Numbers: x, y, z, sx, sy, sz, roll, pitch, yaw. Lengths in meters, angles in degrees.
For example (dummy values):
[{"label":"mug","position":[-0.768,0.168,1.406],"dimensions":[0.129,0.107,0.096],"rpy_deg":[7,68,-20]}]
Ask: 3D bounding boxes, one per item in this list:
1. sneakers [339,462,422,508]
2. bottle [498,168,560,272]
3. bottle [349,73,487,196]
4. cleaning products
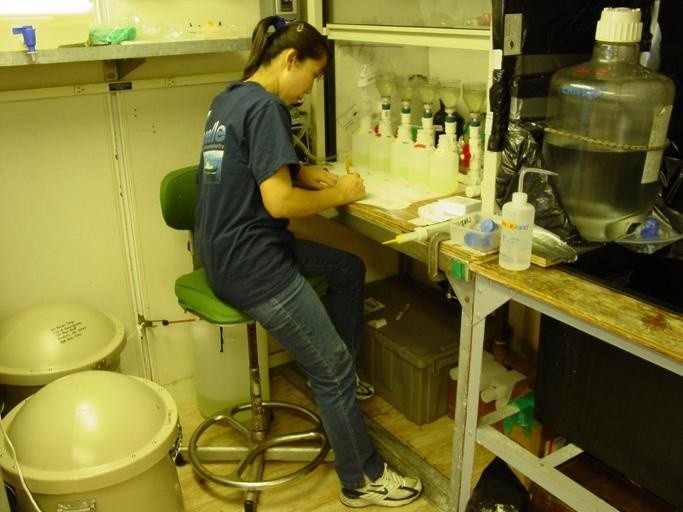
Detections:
[{"label":"sneakers","position":[0.154,0.917,2.329],"dimensions":[0.365,0.214,0.144],"rpy_deg":[-2,35,-2]},{"label":"bottle","position":[0.573,-0.127,1.714],"dimensions":[0.133,0.288,0.252],"rpy_deg":[6,21,28]},{"label":"bottle","position":[0.324,-0.526,2.430],"dimensions":[0.179,0.478,0.543],"rpy_deg":[-20,32,-39]},{"label":"cleaning products","position":[0.283,-0.434,2.422],"dimensions":[0.365,0.215,0.098],"rpy_deg":[24,39,39]}]
